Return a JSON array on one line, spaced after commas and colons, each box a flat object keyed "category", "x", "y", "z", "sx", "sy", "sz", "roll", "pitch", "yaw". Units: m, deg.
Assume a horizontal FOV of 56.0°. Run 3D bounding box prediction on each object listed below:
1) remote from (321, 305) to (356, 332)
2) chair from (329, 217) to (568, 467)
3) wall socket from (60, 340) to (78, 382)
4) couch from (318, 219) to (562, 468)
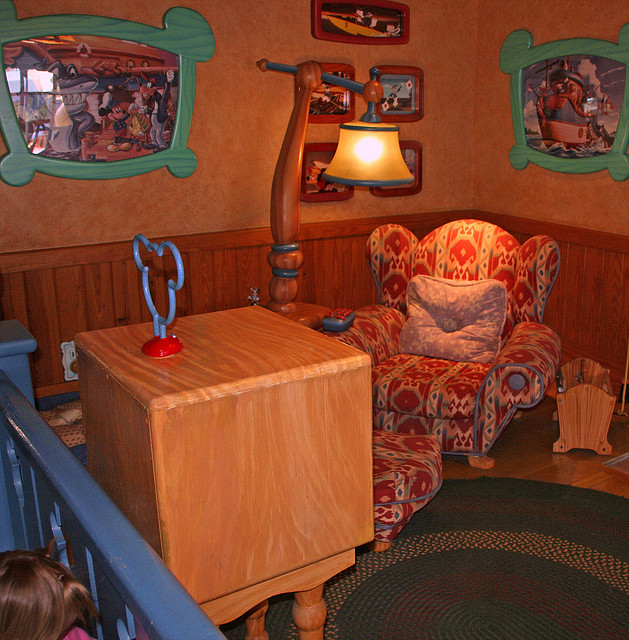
[{"category": "remote", "x": 0.125, "y": -0.011, "z": 2.968, "sx": 0.169, "sy": 0.077, "sz": 0.228, "roll": 11, "pitch": 21, "yaw": 33}, {"category": "chair", "x": 0.702, "y": 0.109, "z": 3.091, "sx": 1.136, "sy": 1.121, "sz": 0.941, "roll": 8, "pitch": 14, "yaw": 35}, {"category": "wall socket", "x": -1.321, "y": 0.227, "z": 3.261, "sx": 0.143, "sy": 0.218, "sz": 0.060, "roll": 0, "pitch": 8, "yaw": 8}, {"category": "couch", "x": 0.709, "y": 0.102, "z": 3.022, "sx": 1.162, "sy": 1.095, "sz": 0.936, "roll": 10, "pitch": 17, "yaw": 41}]
